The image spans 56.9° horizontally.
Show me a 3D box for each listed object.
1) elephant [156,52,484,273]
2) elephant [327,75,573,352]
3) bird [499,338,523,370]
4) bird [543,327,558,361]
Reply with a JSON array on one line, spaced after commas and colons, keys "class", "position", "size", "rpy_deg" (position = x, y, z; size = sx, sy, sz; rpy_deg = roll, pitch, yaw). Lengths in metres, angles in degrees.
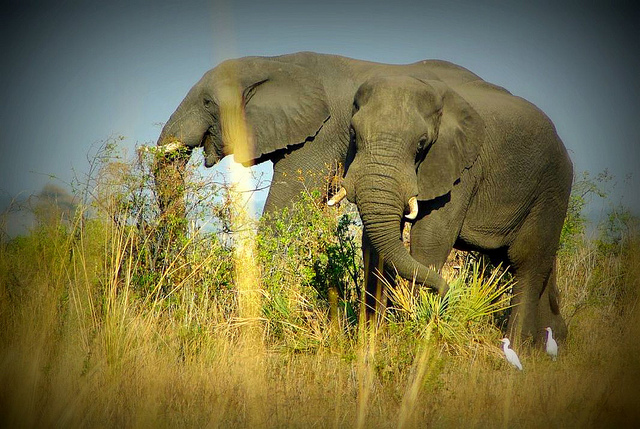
[{"class": "elephant", "position": [0.139, -0.875, 11.200], "size": [6.588, 4.605, 2.674], "rpy_deg": [-2, 14, -15]}, {"class": "elephant", "position": [2.141, 0.041, 8.333], "size": [3.898, 3.389, 1.555], "rpy_deg": [8, 2, -22]}, {"class": "bird", "position": [2.225, 1.619, 6.825], "size": [0.223, 0.307, 0.304], "rpy_deg": [5, -5, 20]}, {"class": "bird", "position": [2.895, 1.620, 7.379], "size": [0.139, 0.382, 0.362], "rpy_deg": [4, -6, 22]}]
